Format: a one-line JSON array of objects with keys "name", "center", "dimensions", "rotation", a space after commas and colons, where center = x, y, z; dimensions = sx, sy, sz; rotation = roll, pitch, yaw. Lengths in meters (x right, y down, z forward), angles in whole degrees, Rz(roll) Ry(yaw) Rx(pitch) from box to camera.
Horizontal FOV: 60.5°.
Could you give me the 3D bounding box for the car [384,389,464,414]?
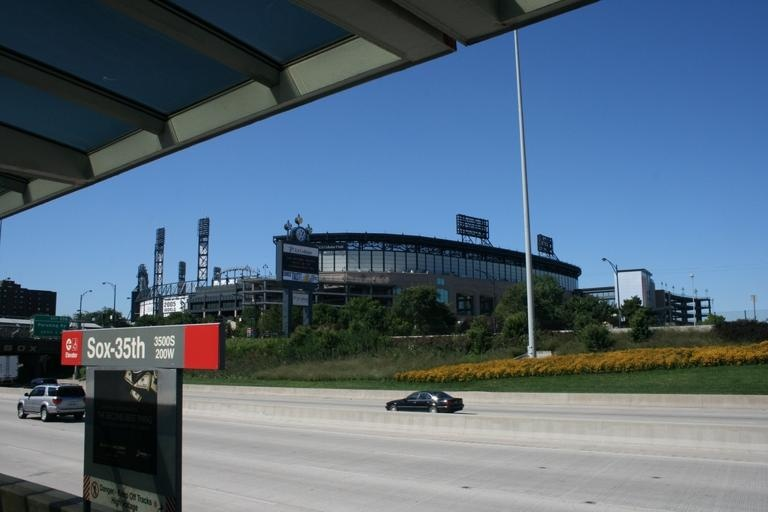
[{"name": "car", "center": [2.142, 7.223, 32.657], "dimensions": [3.376, 0.972, 1.484], "rotation": [-2, -11, 32]}]
